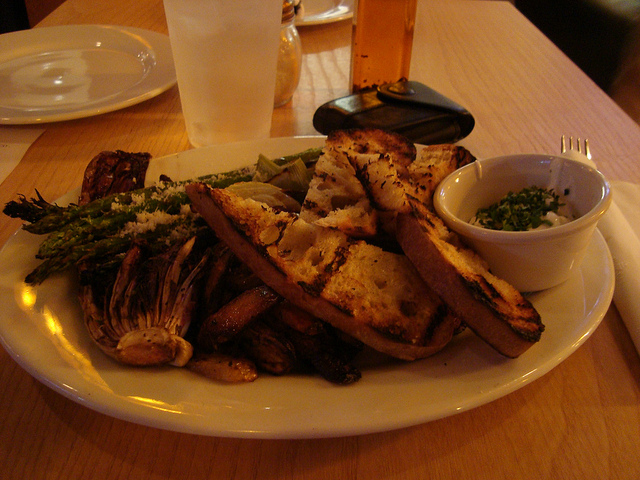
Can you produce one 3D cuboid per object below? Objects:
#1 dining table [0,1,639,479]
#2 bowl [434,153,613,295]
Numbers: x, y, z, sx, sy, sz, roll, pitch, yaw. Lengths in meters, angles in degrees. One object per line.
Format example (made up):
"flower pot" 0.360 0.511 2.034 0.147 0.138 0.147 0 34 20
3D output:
"dining table" 0.192 0.030 1.590 1.387 0.378 1.594 -3 43 -3
"bowl" 0.389 -0.064 1.041 0.292 0.168 0.305 -8 31 5
